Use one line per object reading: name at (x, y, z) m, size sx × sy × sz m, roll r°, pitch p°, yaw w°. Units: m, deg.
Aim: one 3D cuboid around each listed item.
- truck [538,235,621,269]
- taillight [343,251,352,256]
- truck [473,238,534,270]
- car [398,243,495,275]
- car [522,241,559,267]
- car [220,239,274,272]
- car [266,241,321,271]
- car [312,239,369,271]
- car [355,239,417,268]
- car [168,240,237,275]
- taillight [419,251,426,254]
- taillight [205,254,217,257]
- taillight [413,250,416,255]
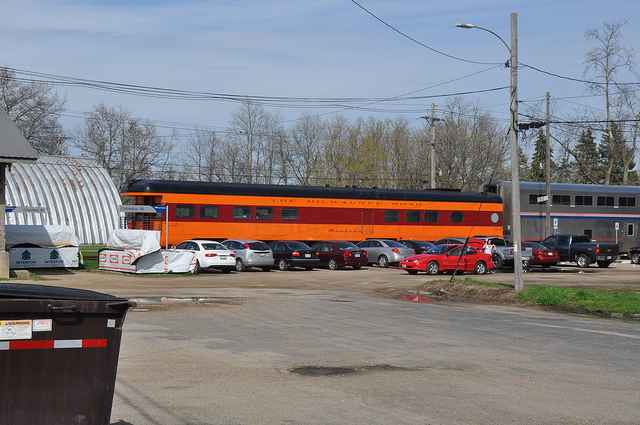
truck at (14.127, 2.093, 51.634) m, size 4.097 × 1.203 × 1.990 m, roll 3°, pitch 3°, yaw 40°
taillight at (1.368, 2.038, 46.760) m, size 0.366 × 0.185 × 0.104 m, roll -1°, pitch -1°, yaw -7°
truck at (9.527, 2.040, 48.737) m, size 2.866 × 0.856 × 1.342 m, roll 1°, pitch 1°, yaw 28°
car at (5.962, 2.208, 44.355) m, size 4.201 × 1.054 × 1.692 m, roll 2°, pitch -3°, yaw -21°
car at (11.656, 2.172, 48.888) m, size 1.084 × 0.644 × 2.263 m, roll -3°, pitch 5°, yaw -41°
car at (-3.725, 1.974, 45.482) m, size 1.370 × 0.818 × 2.551 m, roll 0°, pitch 3°, yaw -35°
car at (-1.563, 2.107, 47.157) m, size 1.264 × 0.761 × 2.718 m, roll 0°, pitch 2°, yaw -28°
car at (0.818, 2.108, 47.804) m, size 1.278 × 0.785 × 2.825 m, roll -1°, pitch 3°, yaw -39°
car at (3.348, 2.108, 49.463) m, size 1.332 × 0.825 × 2.972 m, roll 0°, pitch 2°, yaw -42°
car at (-5.596, 1.939, 43.846) m, size 1.446 × 0.833 × 3.021 m, roll 0°, pitch 2°, yaw -44°
taillight at (5.207, 2.031, 47.707) m, size 0.242 × 0.181 × 0.147 m, roll -1°, pitch -7°, yaw -6°
taillight at (-5.013, 1.970, 42.936) m, size 0.471 × 0.091 × 0.102 m, roll -1°, pitch -1°, yaw -16°
taillight at (4.878, 2.059, 48.648) m, size 0.092 × 0.075 × 0.289 m, roll -12°, pitch 35°, yaw 14°
